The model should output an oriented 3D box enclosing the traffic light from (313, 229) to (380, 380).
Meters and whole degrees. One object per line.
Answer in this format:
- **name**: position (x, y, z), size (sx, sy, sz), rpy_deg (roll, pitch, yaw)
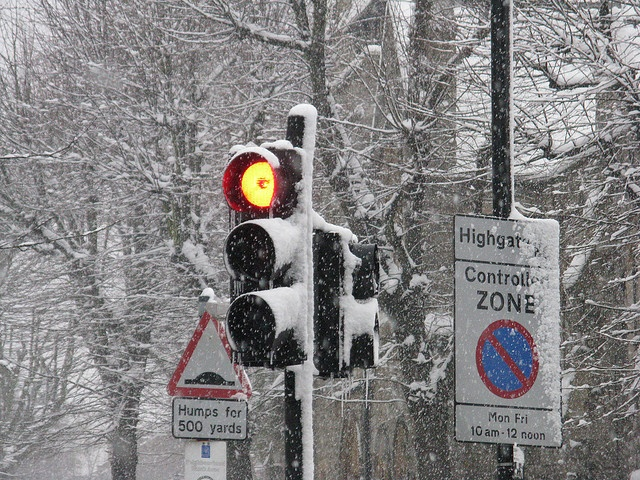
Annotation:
- **traffic light**: position (0.472, 1.179, 26.943), size (1.237, 2.690, 0.374), rpy_deg (-2, -8, -3)
